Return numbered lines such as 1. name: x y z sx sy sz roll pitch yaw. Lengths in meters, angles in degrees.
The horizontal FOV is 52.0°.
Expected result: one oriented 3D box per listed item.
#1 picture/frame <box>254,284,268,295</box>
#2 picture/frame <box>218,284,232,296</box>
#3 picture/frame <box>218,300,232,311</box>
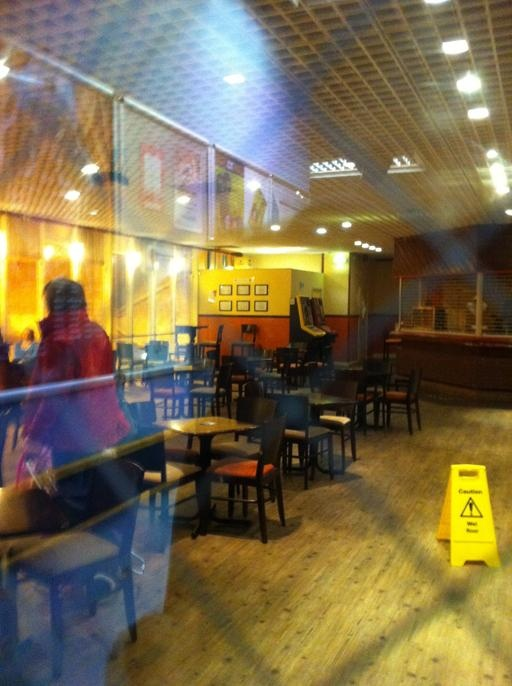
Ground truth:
1. picture/frame: 0.157 -1.544 15.238 0.336 0.318 0.081 2 0 18
2. picture/frame: -0.923 -1.587 15.867 0.475 0.303 0.054 3 3 34
3. picture/frame: -0.930 -1.140 15.892 0.314 0.281 0.035 5 10 31
